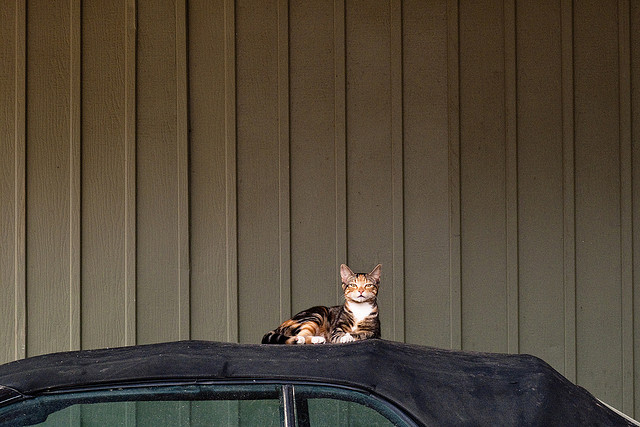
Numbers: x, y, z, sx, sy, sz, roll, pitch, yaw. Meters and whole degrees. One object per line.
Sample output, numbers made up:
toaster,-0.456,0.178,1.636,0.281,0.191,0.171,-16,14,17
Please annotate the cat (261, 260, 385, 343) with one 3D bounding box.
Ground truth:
cat,0.045,0.832,9.294,1.072,0.866,0.758,1,-95,14
